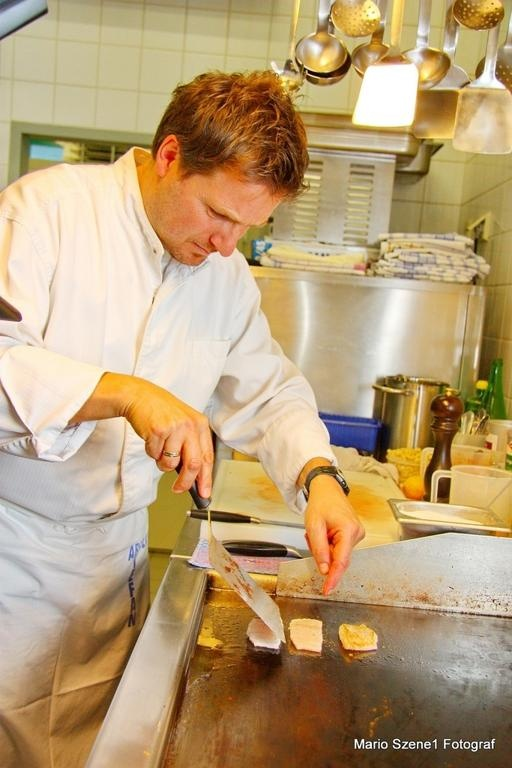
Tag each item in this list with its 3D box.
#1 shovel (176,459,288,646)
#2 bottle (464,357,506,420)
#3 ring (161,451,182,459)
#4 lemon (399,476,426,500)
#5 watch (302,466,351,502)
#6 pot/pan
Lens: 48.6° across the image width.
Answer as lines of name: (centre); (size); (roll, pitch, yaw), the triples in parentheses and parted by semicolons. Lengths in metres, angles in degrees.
shovel: (-0.034, 0.270, 0.907); (0.030, 0.083, 0.344); (-40, 23, -3)
bottle: (0.742, 0.013, 1.805); (0.129, 0.184, 0.370); (8, 8, 20)
ring: (-0.101, 0.085, 0.682); (0.017, 0.009, 0.010); (3, 8, -17)
lemon: (0.378, 0.246, 1.371); (0.055, 0.052, 0.055); (0, 2, 4)
watch: (0.110, 0.148, 0.926); (0.072, 0.078, 0.047); (3, 26, -5)
pot/pan: (0.507, 0.128, 2.007); (0.198, 0.299, 0.276); (2, 8, -28)
